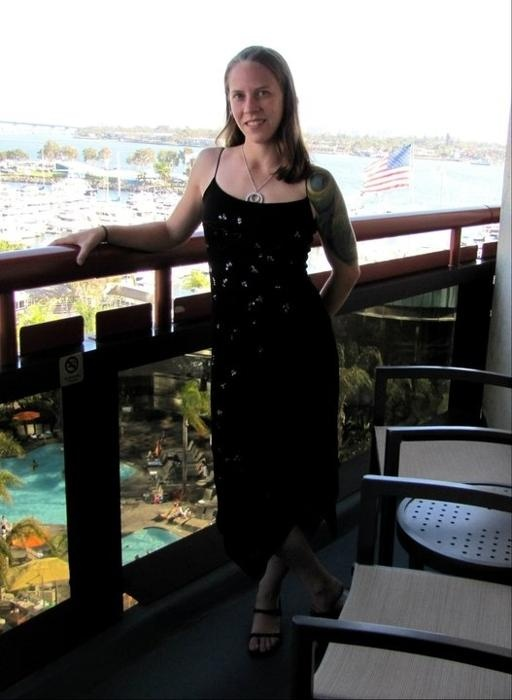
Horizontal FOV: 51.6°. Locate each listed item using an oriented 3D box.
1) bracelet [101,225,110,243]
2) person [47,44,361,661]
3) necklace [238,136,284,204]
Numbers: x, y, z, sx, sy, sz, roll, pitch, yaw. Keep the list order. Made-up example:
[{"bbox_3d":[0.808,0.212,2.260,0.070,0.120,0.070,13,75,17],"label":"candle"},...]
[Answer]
[{"bbox_3d":[-0.299,-0.229,1.047,0.020,0.028,0.010,12,8,43],"label":"bracelet"},{"bbox_3d":[-0.033,-0.002,1.211,0.548,1.255,0.217,2,10,-2],"label":"person"},{"bbox_3d":[-0.006,-0.356,1.086,0.077,0.113,0.062,6,11,19],"label":"necklace"}]
